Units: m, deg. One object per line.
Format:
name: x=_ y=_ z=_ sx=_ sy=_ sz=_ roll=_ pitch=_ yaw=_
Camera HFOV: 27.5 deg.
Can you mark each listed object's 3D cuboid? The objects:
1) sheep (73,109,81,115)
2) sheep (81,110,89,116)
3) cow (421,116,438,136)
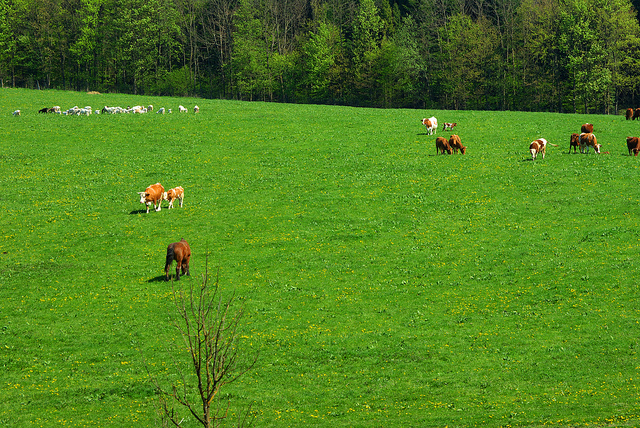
sheep: x=-39.564 y=-17.130 z=213.483 sx=0.952 sy=0.638 sz=0.282 roll=-2 pitch=5 yaw=-5
sheep: x=-38.228 y=-17.006 z=213.219 sx=1.193 sy=0.848 sz=0.830 roll=-3 pitch=5 yaw=-12
cow: x=17.366 y=-14.225 z=206.104 sx=1.533 sy=2.836 sz=2.871 roll=-3 pitch=6 yaw=-15
